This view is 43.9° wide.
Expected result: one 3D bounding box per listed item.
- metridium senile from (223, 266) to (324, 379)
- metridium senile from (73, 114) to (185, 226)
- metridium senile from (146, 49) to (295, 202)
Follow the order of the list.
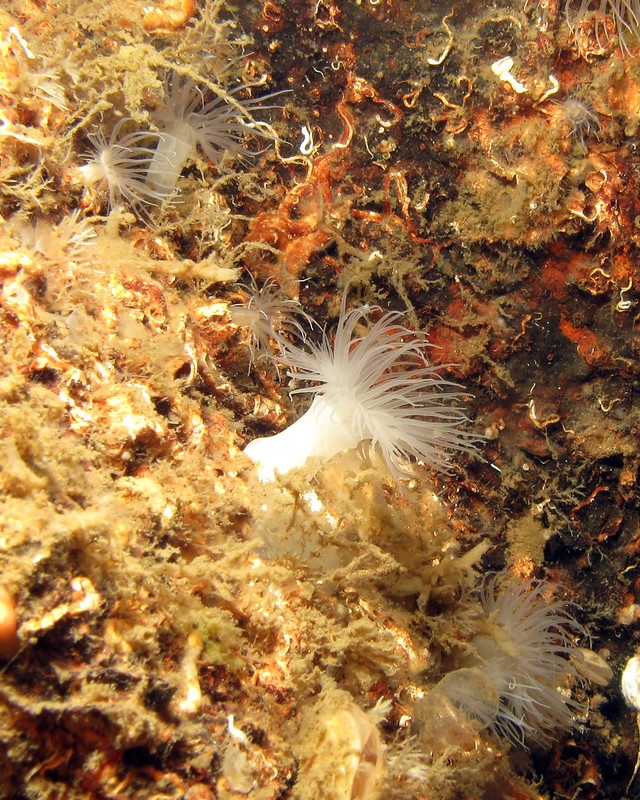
[{"bbox_3d":[-0.311,-0.471,4.781,0.510,0.529,0.251,37,94,43],"label":"metridium senile"},{"bbox_3d":[-0.942,-1.199,4.113,0.316,0.520,0.693,7,51,12],"label":"metridium senile"},{"bbox_3d":[-0.606,-1.407,4.344,0.733,0.293,0.694,25,16,-15],"label":"metridium senile"}]
